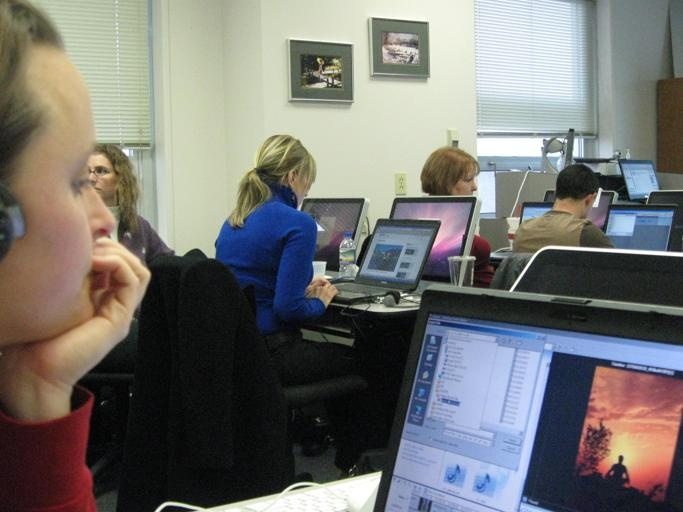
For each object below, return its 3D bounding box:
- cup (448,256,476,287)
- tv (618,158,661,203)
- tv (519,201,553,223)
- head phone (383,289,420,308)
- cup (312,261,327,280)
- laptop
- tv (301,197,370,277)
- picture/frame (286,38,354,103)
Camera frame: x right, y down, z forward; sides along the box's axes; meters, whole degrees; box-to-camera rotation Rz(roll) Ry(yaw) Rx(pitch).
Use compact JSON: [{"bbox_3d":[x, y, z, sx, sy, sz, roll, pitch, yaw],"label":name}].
[{"bbox_3d":[0.438,0.053,2.073,0.106,0.117,0.108,-1,5,0],"label":"cup"},{"bbox_3d":[2.594,-0.654,4.920,0.516,0.359,0.406,-6,11,-37],"label":"tv"},{"bbox_3d":[1.213,-0.273,3.487,0.193,0.142,0.139,1,-3,43],"label":"tv"},{"bbox_3d":[0.218,0.164,2.087,0.090,0.037,0.080,2,4,-2],"label":"head phone"},{"bbox_3d":[-0.102,0.068,2.506,0.066,0.054,0.068,-2,2,0],"label":"cup"},{"bbox_3d":[0.143,0.011,2.271,0.442,0.267,0.457,-1,6,-3],"label":"laptop"},{"bbox_3d":[-0.077,-0.130,2.994,0.092,0.371,0.488,16,15,41],"label":"tv"},{"bbox_3d":[-0.167,-1.220,3.681,0.434,0.378,0.046,1,-1,-24],"label":"picture/frame"}]
